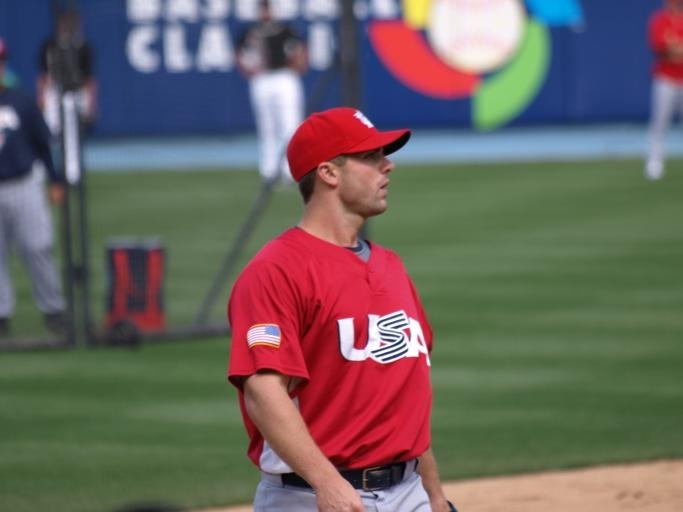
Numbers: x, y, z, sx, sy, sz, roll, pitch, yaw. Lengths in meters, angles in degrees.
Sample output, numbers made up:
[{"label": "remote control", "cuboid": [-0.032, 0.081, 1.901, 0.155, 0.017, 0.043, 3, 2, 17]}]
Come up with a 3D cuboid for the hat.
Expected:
[{"label": "hat", "cuboid": [0.027, -0.571, 8.641, 0.536, 0.303, 0.354, -13, 6, 8]}]
